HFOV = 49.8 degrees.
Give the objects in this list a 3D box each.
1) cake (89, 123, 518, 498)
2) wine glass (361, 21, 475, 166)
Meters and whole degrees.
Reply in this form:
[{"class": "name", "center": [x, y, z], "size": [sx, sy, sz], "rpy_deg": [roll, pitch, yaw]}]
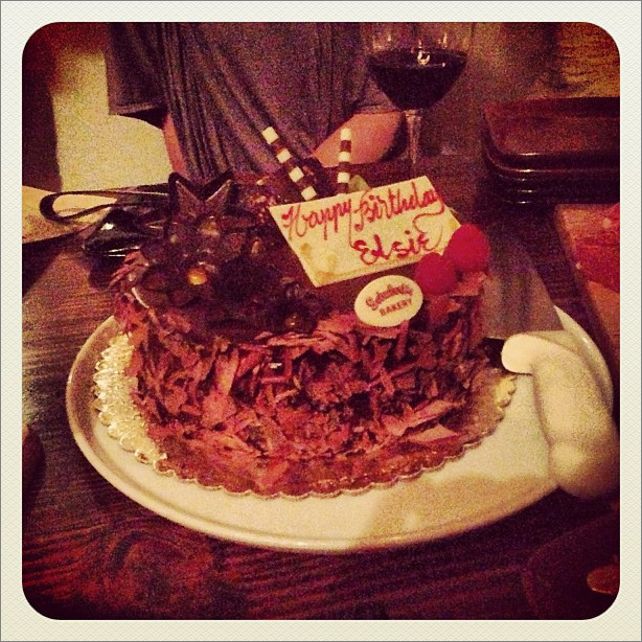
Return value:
[{"class": "cake", "center": [0.004, 0.104, 1.361], "size": [0.674, 0.223, 0.708], "rpy_deg": [-27, 54, -12]}, {"class": "wine glass", "center": [0.174, -0.426, 1.271], "size": [0.188, 0.200, 0.215], "rpy_deg": [-2, 51, 4]}]
